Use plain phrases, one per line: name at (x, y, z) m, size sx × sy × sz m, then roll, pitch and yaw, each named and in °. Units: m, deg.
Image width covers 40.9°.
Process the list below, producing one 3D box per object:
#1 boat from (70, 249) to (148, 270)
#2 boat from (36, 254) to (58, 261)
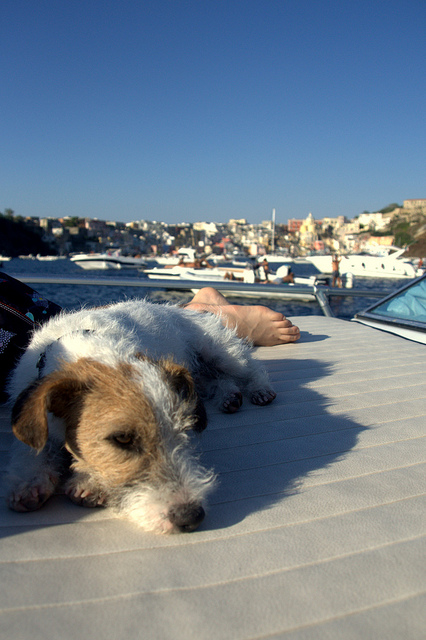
boat at (-8.221, -5.135, 46.552) m, size 2.208 × 1.593 × 7.496 m, roll 2°, pitch 2°, yaw 37°
boat at (-18.566, -6.946, 63.341) m, size 1.937 × 0.686 × 2.757 m, roll -1°, pitch 8°, yaw -6°
